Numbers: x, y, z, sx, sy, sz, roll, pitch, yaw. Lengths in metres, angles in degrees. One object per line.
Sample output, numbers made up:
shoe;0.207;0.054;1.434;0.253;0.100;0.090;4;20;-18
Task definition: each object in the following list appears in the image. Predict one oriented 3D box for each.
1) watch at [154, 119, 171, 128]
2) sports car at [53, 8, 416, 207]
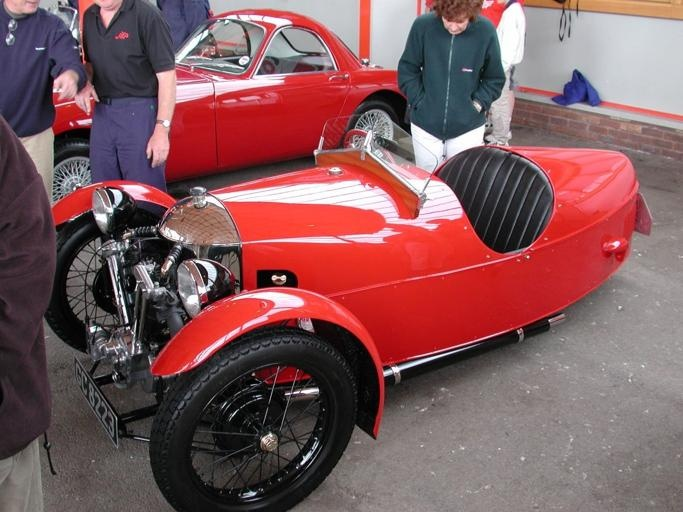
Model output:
watch;-1.115;-0.806;3.238;0.066;0.050;0.069;7;1;6
sports car;-1.142;-1.488;5.167;2.895;1.273;1.692;-9;23;-24
